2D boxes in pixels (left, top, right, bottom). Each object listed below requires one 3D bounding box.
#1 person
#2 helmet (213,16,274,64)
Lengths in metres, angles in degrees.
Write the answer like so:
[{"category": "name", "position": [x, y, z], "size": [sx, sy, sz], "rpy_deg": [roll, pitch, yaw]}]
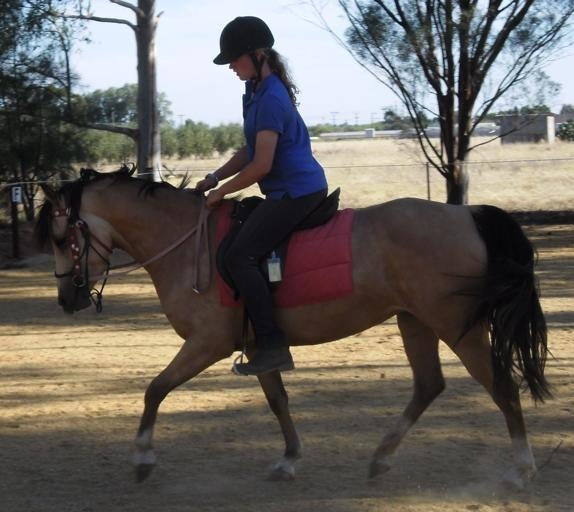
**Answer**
[{"category": "person", "position": [-0.140, -0.398, 5.721], "size": [0.832, 2.411, 0.932], "rpy_deg": [-4, 13, -3]}, {"category": "helmet", "position": [-0.302, -1.423, 5.553], "size": [0.400, 0.318, 0.250], "rpy_deg": [-3, 12, -2]}]
